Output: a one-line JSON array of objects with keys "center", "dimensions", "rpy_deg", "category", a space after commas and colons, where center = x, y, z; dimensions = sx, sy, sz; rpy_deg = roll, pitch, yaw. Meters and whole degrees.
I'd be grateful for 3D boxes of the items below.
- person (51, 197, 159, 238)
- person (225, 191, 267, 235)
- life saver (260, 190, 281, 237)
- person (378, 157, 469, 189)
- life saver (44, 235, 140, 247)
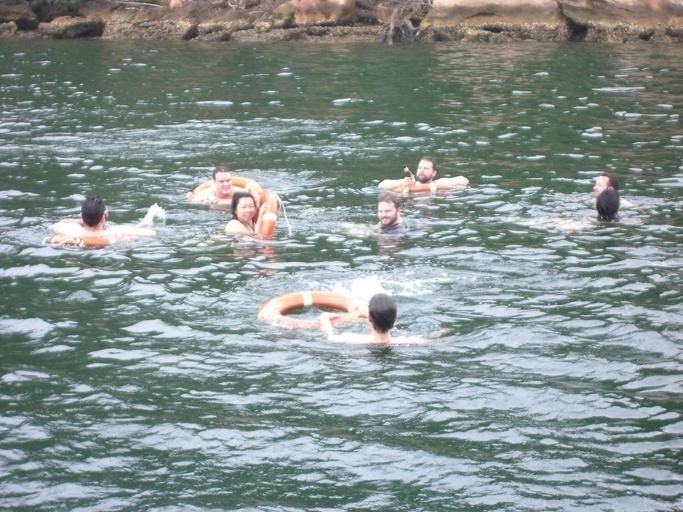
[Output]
[{"center": [-4.388, -0.677, 20.959], "dimensions": [2.219, 0.755, 1.523], "rpy_deg": [-2, 11, -14], "category": "person"}, {"center": [-1.874, -0.811, 21.245], "dimensions": [0.605, 0.830, 0.462], "rpy_deg": [0, 12, -4], "category": "person"}, {"center": [-1.365, -0.782, 21.192], "dimensions": [0.362, 0.858, 0.432], "rpy_deg": [3, 12, 7], "category": "life saver"}, {"center": [1.765, -1.786, 24.072], "dimensions": [2.123, 0.503, 1.597], "rpy_deg": [-2, 15, -17], "category": "person"}, {"center": [-4.655, -0.261, 20.664], "dimensions": [1.565, 0.193, 0.343], "rpy_deg": [-1, 8, -9], "category": "life saver"}]
